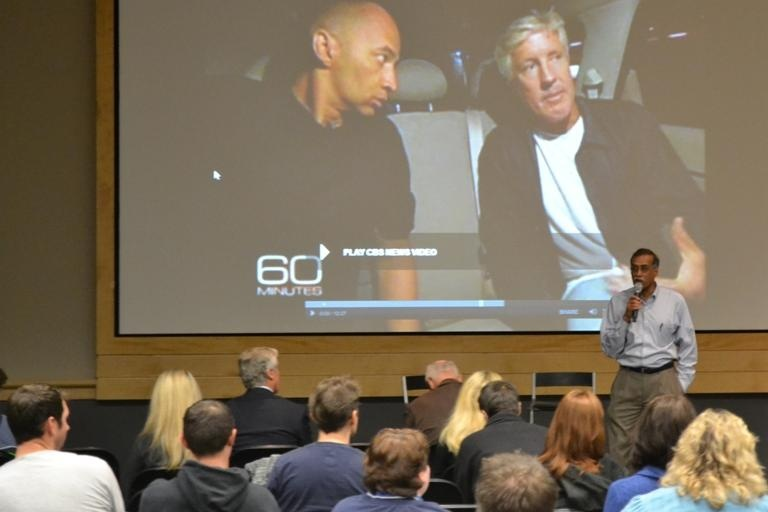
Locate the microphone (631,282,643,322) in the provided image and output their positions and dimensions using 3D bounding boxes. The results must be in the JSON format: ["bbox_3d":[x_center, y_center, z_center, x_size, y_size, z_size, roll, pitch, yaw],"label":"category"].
[{"bbox_3d":[2.131,0.378,6.850,0.100,0.348,0.083,0,-23,13],"label":"microphone"}]

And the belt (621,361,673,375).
[{"bbox_3d":[2.249,0.945,6.932,0.425,0.115,0.085,-1,-6,14],"label":"belt"}]

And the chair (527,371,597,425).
[{"bbox_3d":[1.728,1.398,7.999,0.619,0.536,0.848,-1,-7,10],"label":"chair"}]

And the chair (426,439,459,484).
[{"bbox_3d":[0.451,1.547,6.158,0.162,0.284,0.273,24,-24,-37],"label":"chair"}]
